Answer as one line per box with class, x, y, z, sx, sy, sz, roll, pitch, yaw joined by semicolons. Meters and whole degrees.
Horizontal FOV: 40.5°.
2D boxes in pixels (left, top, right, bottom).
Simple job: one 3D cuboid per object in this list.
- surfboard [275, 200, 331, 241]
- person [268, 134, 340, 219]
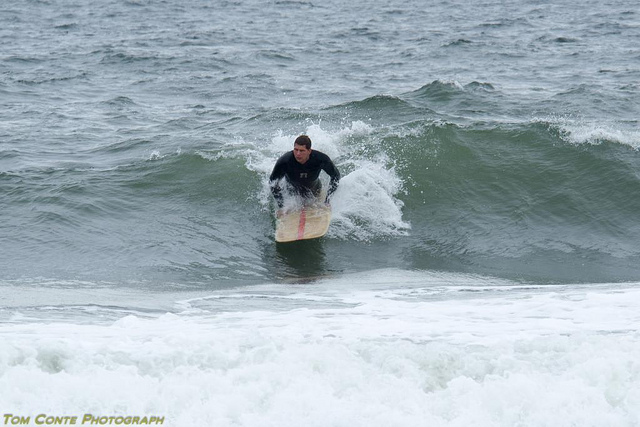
surfboard;-0.482;0.095;23.296;1.566;1.985;0.258;-9;59;-13
person;-0.411;-0.963;23.395;1.599;2.260;1.128;-4;12;-40
